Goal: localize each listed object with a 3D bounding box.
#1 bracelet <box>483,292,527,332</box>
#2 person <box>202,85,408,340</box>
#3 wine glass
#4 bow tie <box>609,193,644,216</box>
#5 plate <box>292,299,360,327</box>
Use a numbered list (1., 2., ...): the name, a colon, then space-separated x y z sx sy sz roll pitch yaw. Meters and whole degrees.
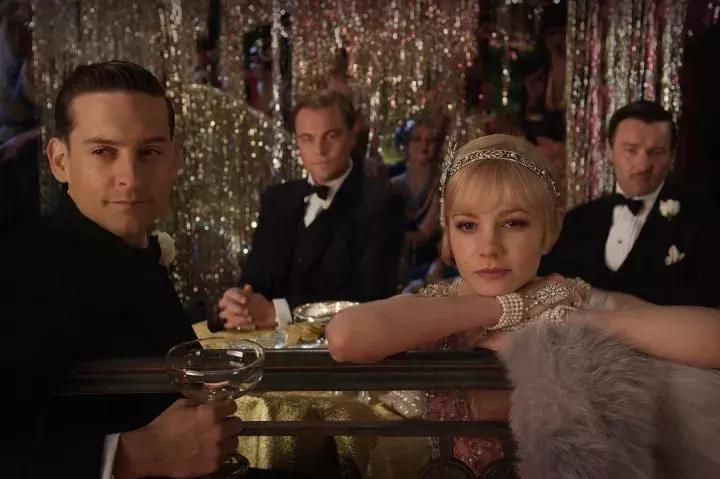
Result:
1. bracelet: 0.422 0.217 1.893 0.087 0.048 0.107 -17 6 -31
2. person: -0.227 -0.123 3.174 0.812 1.126 0.801 3 16 15
3. wine glass: -0.352 0.384 1.646 0.195 0.212 0.189 -4 18 -7
4. bow tie: 1.035 -0.136 2.522 0.026 0.080 0.083 -22 20 -27
5. plate: -0.143 0.258 2.323 0.157 0.055 0.137 0 0 -7
